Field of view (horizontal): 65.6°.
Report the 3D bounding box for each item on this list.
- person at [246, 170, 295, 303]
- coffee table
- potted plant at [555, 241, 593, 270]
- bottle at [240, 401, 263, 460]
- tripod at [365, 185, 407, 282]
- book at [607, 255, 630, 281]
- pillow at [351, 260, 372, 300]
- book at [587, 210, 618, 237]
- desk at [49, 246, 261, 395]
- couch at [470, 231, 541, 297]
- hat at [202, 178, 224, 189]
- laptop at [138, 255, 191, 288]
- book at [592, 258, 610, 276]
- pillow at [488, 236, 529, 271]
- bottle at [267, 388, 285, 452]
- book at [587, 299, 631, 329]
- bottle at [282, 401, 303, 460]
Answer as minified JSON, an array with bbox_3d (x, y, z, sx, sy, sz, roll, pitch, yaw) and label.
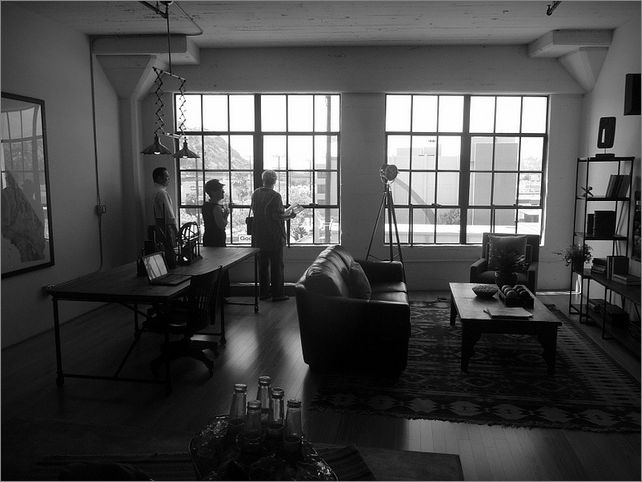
[{"bbox_3d":[-0.746,-0.048,7.565,0.591,2.003,0.619,0,7,-8],"label":"person"},{"bbox_3d":[2.078,1.030,5.747,0.949,0.539,1.467,0,3,14],"label":"coffee table"},{"bbox_3d":[3.502,0.241,6.946,0.470,0.325,0.462,2,10,22],"label":"potted plant"},{"bbox_3d":[-0.351,0.944,2.512,0.105,0.252,0.147,0,7,-10],"label":"bottle"},{"bbox_3d":[1.108,-0.151,8.043,0.667,1.671,0.582,6,20,23],"label":"tripod"},{"bbox_3d":[3.689,0.350,6.169,0.283,0.284,0.150,-1,3,7],"label":"book"},{"bbox_3d":[0.478,0.477,5.936,0.110,0.226,0.385,-29,22,12],"label":"pillow"},{"bbox_3d":[3.724,-0.258,6.739,0.416,0.434,0.327,3,9,15],"label":"book"},{"bbox_3d":[-1.856,0.805,5.518,1.584,1.132,1.921,2,7,6],"label":"desk"},{"bbox_3d":[2.717,0.304,7.300,0.897,1.305,0.944,1,-4,23],"label":"couch"},{"bbox_3d":[-1.580,-0.801,7.317,0.225,0.193,0.208,-1,7,-16],"label":"hat"},{"bbox_3d":[-1.554,0.273,5.068,0.411,0.274,0.472,1,7,0],"label":"laptop"},{"bbox_3d":[3.623,0.335,6.432,0.173,0.098,0.210,3,12,0],"label":"book"},{"bbox_3d":[2.828,0.185,7.530,0.579,0.591,0.227,-2,16,11],"label":"pillow"},{"bbox_3d":[-0.230,0.910,2.555,0.090,0.287,0.127,0,7,-5],"label":"bottle"},{"bbox_3d":[3.753,0.938,6.454,0.391,0.095,0.399,2,16,6],"label":"book"},{"bbox_3d":[-0.140,0.953,2.536,0.101,0.275,0.135,0,7,-4],"label":"bottle"}]
